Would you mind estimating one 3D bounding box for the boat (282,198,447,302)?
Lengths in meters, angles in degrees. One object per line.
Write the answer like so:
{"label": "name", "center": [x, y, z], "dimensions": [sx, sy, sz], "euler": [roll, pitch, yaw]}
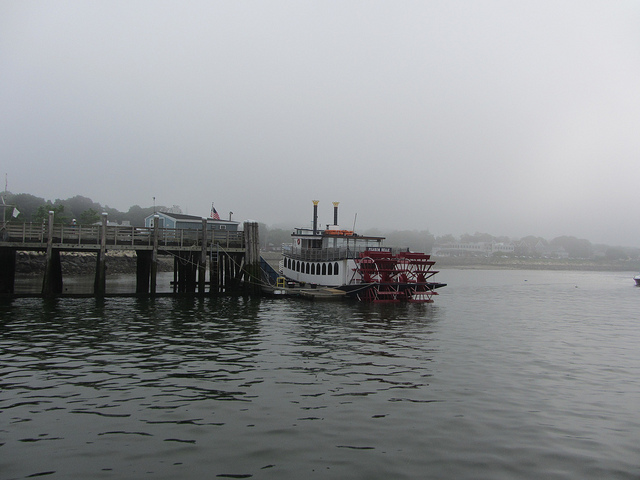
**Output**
{"label": "boat", "center": [2.298, 1.034, 53.009], "dimensions": [7.182, 7.375, 20.114], "euler": [-1, 4, -34]}
